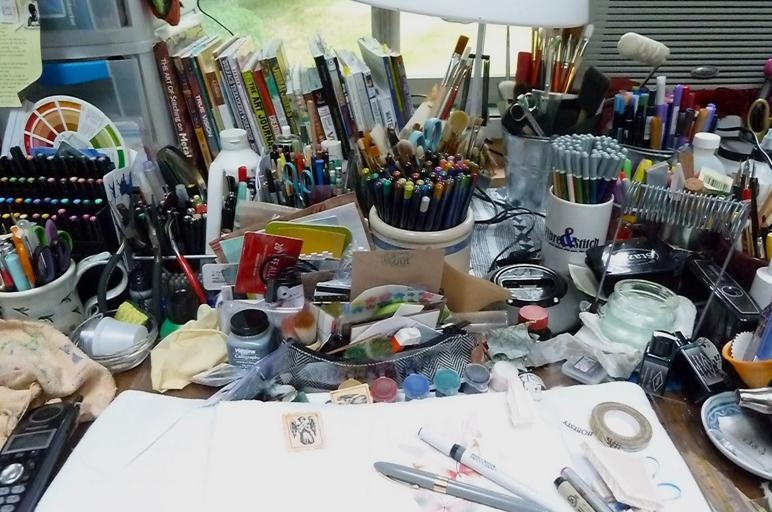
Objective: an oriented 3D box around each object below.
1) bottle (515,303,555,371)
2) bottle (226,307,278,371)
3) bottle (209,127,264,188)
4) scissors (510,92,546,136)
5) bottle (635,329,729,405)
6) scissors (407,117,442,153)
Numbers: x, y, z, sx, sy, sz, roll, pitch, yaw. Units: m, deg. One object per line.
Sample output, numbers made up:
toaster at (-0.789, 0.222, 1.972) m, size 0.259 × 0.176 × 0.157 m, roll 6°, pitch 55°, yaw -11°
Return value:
bottle at (0.275, 0.134, 0.980) m, size 0.057 × 0.077 × 0.097 m, roll 19°, pitch 33°, yaw 31°
bottle at (-0.226, 0.140, 0.916) m, size 0.072 × 0.104 × 0.084 m, roll -7°, pitch 29°, yaw -12°
bottle at (-0.330, -0.231, 1.189) m, size 0.126 × 0.135 × 0.117 m, roll -13°, pitch 35°, yaw -35°
scissors at (0.328, -0.317, 1.219) m, size 0.029 × 0.103 × 0.067 m, roll 3°, pitch 32°, yaw 45°
bottle at (0.518, 0.187, 0.915) m, size 0.141 × 0.095 × 0.087 m, roll 8°, pitch 29°, yaw 14°
scissors at (0.081, -0.246, 1.084) m, size 0.015 × 0.062 × 0.089 m, roll 13°, pitch 35°, yaw 41°
